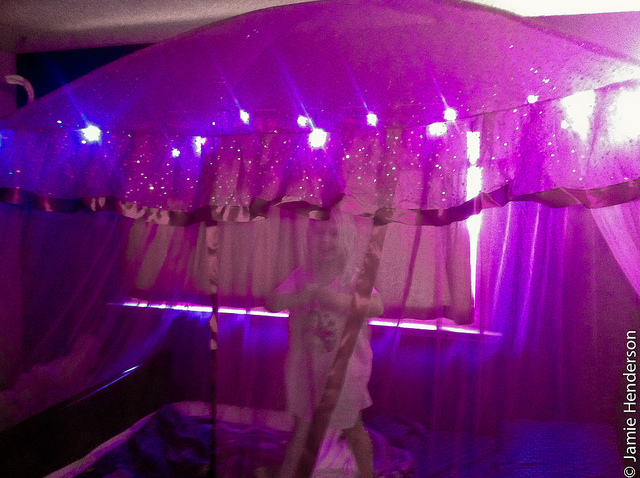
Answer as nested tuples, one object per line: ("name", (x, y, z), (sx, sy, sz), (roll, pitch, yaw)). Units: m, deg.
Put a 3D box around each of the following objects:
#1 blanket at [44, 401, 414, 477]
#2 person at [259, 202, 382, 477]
("blanket", (-0.182, 0.794, 2.107), (0.974, 0.125, 0.601), (2, 1, 7))
("person", (0.007, 0.391, 2.042), (0.508, 1.032, 0.306), (6, -7, -7))
